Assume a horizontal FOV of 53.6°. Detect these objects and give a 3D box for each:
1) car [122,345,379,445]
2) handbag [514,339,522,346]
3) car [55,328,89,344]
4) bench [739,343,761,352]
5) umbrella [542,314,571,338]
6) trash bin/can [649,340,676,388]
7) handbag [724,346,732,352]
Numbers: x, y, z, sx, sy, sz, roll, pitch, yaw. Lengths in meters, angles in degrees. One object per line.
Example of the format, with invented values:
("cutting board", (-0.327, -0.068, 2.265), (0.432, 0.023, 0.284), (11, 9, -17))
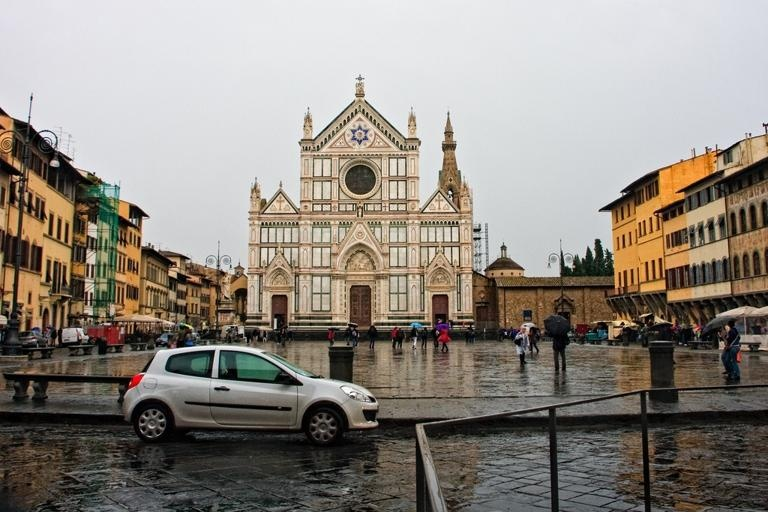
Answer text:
("car", (-2.783, 2.922, 16.035), (4.661, 1.656, 2.182), (-1, -8, -1))
("handbag", (5.687, 3.659, 32.103), (0.314, 0.208, 0.271), (0, -3, -6))
("car", (-19.509, 4.936, 47.436), (1.384, 1.110, 2.339), (-1, -2, -13))
("bench", (20.917, 5.211, 43.274), (0.974, 0.567, 2.606), (-5, -12, 21))
("umbrella", (6.339, 2.567, 27.790), (0.976, 0.939, 0.659), (-6, -5, 5))
("trash bin/can", (7.151, 2.746, 19.477), (0.538, 1.160, 0.571), (-4, -12, 14))
("handbag", (10.876, 2.904, 24.042), (0.142, 0.257, 0.081), (0, -6, 35))
